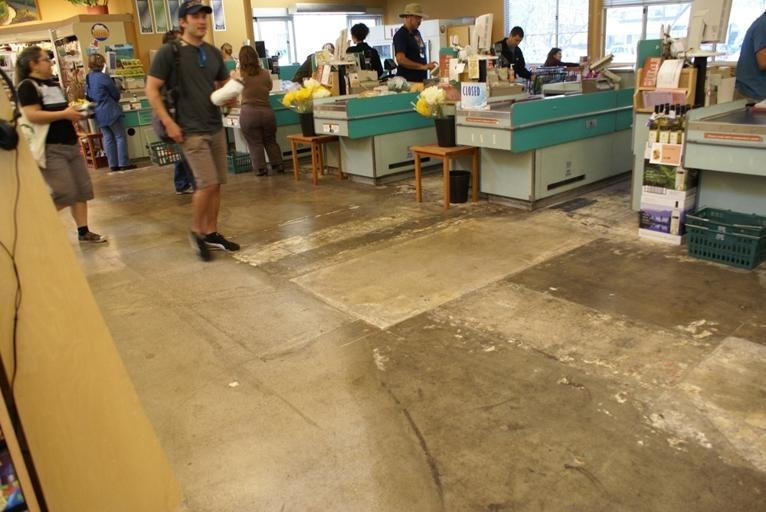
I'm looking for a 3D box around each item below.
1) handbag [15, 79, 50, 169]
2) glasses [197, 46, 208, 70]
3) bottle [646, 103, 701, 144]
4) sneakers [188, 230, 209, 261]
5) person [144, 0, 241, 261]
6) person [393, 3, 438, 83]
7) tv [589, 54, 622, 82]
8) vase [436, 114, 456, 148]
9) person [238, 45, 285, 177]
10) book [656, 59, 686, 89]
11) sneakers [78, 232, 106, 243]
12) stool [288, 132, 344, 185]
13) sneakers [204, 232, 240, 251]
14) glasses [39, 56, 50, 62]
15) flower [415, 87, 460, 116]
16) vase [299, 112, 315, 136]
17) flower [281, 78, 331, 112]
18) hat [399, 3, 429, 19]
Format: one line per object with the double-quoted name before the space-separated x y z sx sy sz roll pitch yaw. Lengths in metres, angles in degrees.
"handbag" -3.100 -1.076 4.407 0.204 0.548 0.280 -17 24 -30
"glasses" -1.612 -1.792 4.352 0.053 0.175 0.110 1 21 13
"bottle" 2.469 -1.138 4.204 0.391 0.426 0.326 5 14 24
"sneakers" -1.718 -0.069 4.681 0.132 0.345 0.151 -25 -15 -3
"person" -1.679 -1.113 4.483 0.716 2.281 0.445 -18 25 -32
"person" 0.485 -3.298 7.539 0.621 1.169 1.139 -3 20 2
"tv" 2.861 -2.412 6.245 0.380 0.335 0.566 6 22 24
"vase" 0.733 -1.433 5.568 0.187 0.352 0.173 -11 22 -17
"person" -1.933 -2.222 7.509 0.572 1.924 0.395 -10 22 -14
"book" 2.664 -1.698 4.519 0.172 0.306 0.094 19 8 32
"sneakers" -3.083 -0.186 5.249 0.299 0.119 0.106 -1 21 -13
"stool" -0.987 -1.463 7.323 0.828 0.783 0.839 20 32 39
"sneakers" -1.567 -0.121 4.823 0.381 0.153 0.135 13 22 -13
"glasses" -3.015 -1.770 4.342 0.064 0.027 0.073 -12 15 -6
"flower" 0.642 -1.808 5.635 0.345 0.331 0.478 15 27 41
"vase" -1.052 -1.874 6.897 0.250 0.342 0.150 0 21 10
"flower" -1.078 -2.360 7.091 0.537 0.446 0.705 2 21 15
"hat" 0.436 -3.625 7.139 0.253 0.174 0.398 0 20 12
